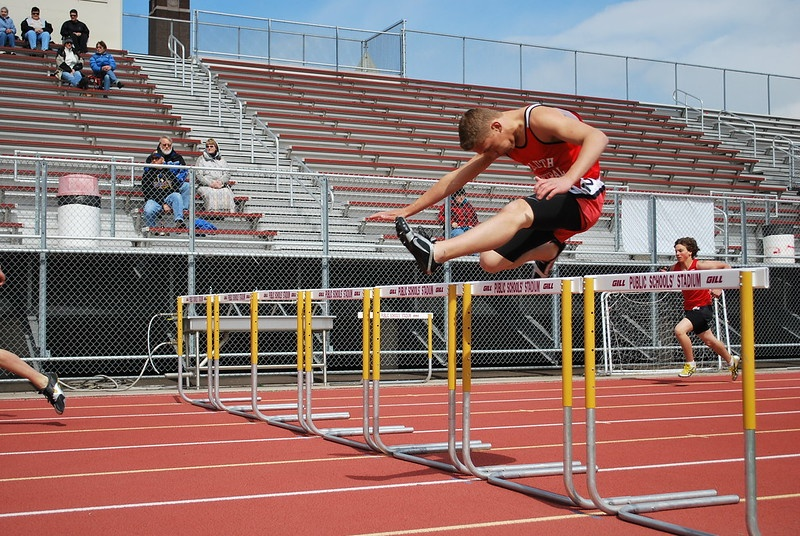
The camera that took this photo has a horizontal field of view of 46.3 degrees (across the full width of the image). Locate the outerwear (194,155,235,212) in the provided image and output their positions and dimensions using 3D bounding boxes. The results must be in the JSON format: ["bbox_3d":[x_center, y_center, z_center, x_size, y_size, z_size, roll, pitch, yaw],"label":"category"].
[{"bbox_3d":[-2.924,-1.365,14.965,0.587,1.015,1.548,-1,2,-11],"label":"outerwear"}]

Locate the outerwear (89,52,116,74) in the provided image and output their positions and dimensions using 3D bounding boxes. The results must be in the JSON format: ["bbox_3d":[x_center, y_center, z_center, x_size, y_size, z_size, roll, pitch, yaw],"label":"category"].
[{"bbox_3d":[-6.457,-4.452,20.484,0.456,0.479,0.347,-1,2,-25],"label":"outerwear"}]

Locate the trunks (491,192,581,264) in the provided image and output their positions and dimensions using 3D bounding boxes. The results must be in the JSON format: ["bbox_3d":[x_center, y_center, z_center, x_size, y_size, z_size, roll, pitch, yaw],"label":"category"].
[{"bbox_3d":[1.367,-0.383,8.951,0.791,0.247,0.562,-21,-15,-19],"label":"trunks"}]

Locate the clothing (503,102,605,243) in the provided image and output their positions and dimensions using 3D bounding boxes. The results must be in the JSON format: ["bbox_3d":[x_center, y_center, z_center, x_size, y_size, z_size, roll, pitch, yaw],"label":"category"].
[{"bbox_3d":[1.545,-0.899,9.148,1.089,1.232,1.040,12,-20,0],"label":"clothing"}]

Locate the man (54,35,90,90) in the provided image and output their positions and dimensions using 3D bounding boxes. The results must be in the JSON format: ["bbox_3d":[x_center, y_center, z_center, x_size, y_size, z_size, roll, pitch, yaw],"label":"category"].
[{"bbox_3d":[-7.077,-4.425,20.354,0.652,1.057,1.171,-3,12,-34],"label":"man"}]

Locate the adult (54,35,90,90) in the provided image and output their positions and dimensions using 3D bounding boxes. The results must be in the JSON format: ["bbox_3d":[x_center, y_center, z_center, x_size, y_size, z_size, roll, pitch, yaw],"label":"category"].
[{"bbox_3d":[-7.066,-4.397,20.362,0.623,1.105,1.157,-3,11,-36],"label":"adult"}]

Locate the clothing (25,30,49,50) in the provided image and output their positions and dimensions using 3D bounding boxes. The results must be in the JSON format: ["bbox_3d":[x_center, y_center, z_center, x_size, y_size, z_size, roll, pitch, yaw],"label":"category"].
[{"bbox_3d":[-8.642,-5.389,22.388,0.585,0.466,0.366,-1,2,-12],"label":"clothing"}]

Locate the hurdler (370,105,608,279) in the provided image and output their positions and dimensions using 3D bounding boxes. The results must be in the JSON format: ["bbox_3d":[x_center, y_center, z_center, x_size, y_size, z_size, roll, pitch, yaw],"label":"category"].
[{"bbox_3d":[0.910,-0.728,8.852,2.318,1.512,1.552,-6,4,-15],"label":"hurdler"}]

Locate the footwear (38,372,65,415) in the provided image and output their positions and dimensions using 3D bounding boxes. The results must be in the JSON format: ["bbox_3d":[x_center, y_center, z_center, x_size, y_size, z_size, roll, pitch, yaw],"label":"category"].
[{"bbox_3d":[-4.093,1.514,11.083,0.253,0.527,0.499,-1,2,-21],"label":"footwear"}]

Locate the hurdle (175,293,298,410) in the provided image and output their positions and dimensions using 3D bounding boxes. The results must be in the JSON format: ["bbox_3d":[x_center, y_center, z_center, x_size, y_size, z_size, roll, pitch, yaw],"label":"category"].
[{"bbox_3d":[-2.379,1.228,13.442,0.941,1.099,1.624,0,-2,-31],"label":"hurdle"}]

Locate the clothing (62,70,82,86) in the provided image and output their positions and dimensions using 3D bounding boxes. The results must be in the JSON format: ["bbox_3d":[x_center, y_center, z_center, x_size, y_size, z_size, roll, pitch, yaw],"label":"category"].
[{"bbox_3d":[-7.035,-4.024,20.146,0.432,0.368,0.298,-1,2,-21],"label":"clothing"}]

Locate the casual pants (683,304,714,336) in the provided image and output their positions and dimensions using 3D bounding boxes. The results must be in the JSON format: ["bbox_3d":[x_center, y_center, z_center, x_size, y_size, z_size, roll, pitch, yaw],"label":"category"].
[{"bbox_3d":[4.659,0.789,14.469,0.420,0.473,0.584,12,4,37],"label":"casual pants"}]

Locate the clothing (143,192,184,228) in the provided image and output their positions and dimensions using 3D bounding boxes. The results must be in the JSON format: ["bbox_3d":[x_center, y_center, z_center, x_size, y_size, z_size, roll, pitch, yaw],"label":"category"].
[{"bbox_3d":[-3.548,-0.883,14.440,0.840,0.506,0.457,-5,3,7],"label":"clothing"}]
